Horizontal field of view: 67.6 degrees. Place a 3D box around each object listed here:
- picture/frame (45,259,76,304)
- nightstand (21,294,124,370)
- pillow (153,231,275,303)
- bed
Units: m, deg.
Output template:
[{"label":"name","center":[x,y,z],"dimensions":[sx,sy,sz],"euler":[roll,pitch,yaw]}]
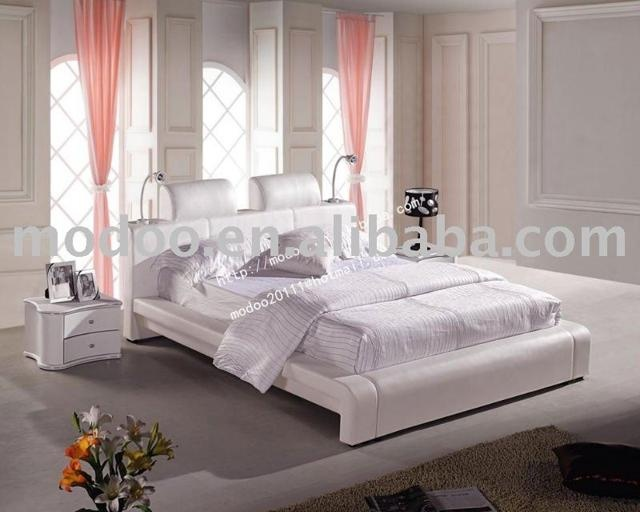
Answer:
[{"label":"picture/frame","center":[-2.030,0.188,3.696],"dimensions":[0.199,0.317,0.255],"euler":[11,12,19]},{"label":"nightstand","center":[-1.931,0.562,3.750],"dimensions":[0.490,0.436,0.635],"euler":[12,11,41]},{"label":"pillow","center":[-0.968,0.073,4.058],"dimensions":[0.759,0.257,0.446],"euler":[-16,22,-35]},{"label":"bed","center":[0.125,0.184,3.985],"dimensions":[2.643,1.205,2.936],"euler":[-6,12,-37]}]
